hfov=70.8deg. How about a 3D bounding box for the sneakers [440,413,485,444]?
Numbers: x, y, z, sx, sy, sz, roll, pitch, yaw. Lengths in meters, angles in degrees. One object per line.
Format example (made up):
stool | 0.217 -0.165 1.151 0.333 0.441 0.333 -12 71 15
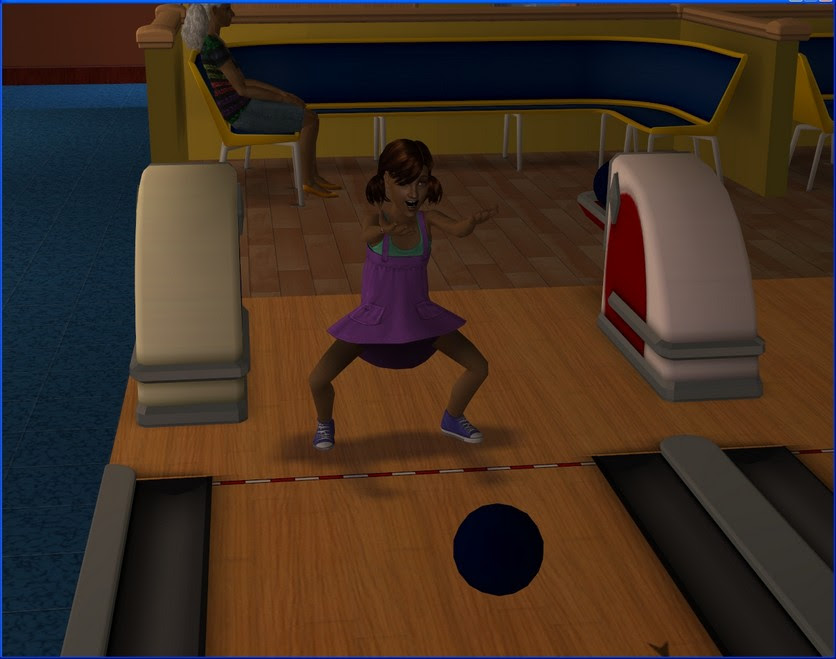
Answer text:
sneakers | 0.138 0.311 1.989 0.164 0.072 0.067 19 24 19

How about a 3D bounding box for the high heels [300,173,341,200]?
high heels | -0.844 -1.242 5.131 0.283 0.130 0.221 14 20 12
